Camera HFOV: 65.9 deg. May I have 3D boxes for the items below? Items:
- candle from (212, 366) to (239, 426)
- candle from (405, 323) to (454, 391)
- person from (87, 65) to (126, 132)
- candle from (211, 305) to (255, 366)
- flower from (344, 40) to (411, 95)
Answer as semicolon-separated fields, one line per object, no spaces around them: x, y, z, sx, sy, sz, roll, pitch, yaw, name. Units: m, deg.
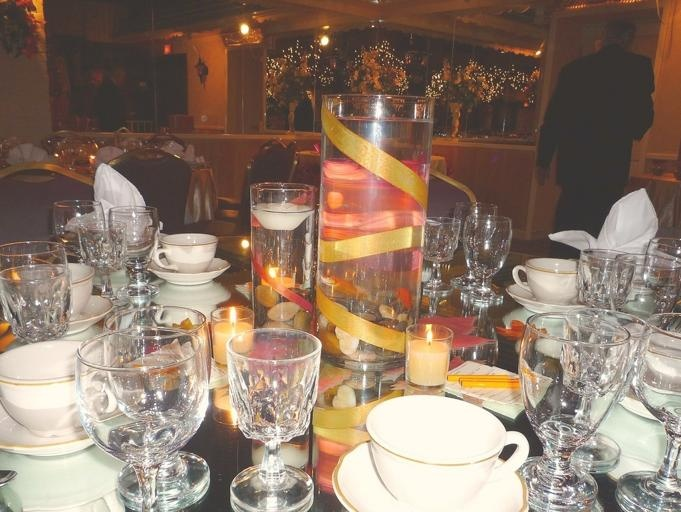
-0.172;0.227;0.843;0.055;0.064;0.059;0;-3;-4;candle
0.136;0.165;0.880;0.091;0.110;0.094;1;12;1;candle
-2.690;-1.810;6.077;0.389;0.934;0.106;2;-21;-23;person
-0.184;0.146;0.985;0.088;0.108;0.096;1;7;-6;candle
0.479;-2.487;6.902;0.813;0.655;0.272;1;14;1;flower
